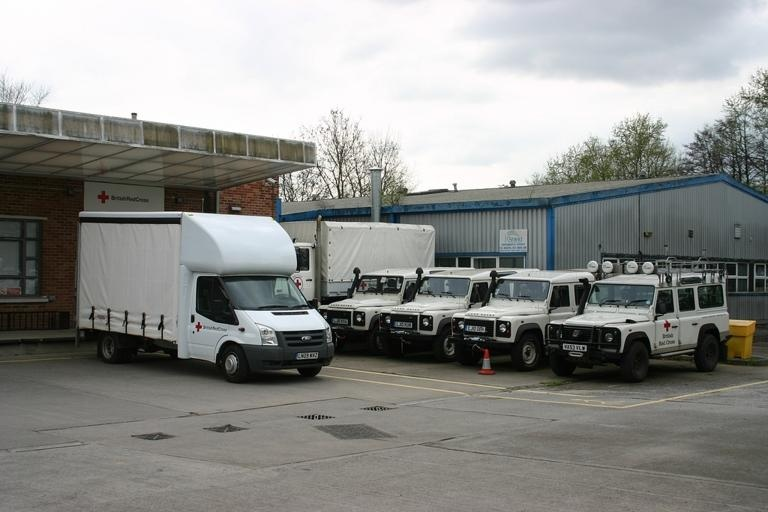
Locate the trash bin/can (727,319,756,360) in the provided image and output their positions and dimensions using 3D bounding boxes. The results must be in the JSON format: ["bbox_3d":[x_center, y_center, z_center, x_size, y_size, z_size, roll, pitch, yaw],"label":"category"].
[{"bbox_3d":[11.131,2.654,22.145,1.042,1.128,1.043,2,5,-12],"label":"trash bin/can"}]

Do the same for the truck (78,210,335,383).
[{"bbox_3d":[-5.144,1.119,20.070,8.290,4.276,3.663,1,-1,41],"label":"truck"}]

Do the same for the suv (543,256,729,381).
[{"bbox_3d":[6.963,1.727,19.774,5.085,2.853,2.802,2,-4,-40],"label":"suv"}]

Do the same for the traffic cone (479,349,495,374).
[{"bbox_3d":[2.906,2.984,19.687,0.586,0.676,0.584,-1,1,21],"label":"traffic cone"}]

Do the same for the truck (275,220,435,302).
[{"bbox_3d":[-1.114,0.122,26.531,5.250,3.161,2.683,-4,4,-27],"label":"truck"}]
